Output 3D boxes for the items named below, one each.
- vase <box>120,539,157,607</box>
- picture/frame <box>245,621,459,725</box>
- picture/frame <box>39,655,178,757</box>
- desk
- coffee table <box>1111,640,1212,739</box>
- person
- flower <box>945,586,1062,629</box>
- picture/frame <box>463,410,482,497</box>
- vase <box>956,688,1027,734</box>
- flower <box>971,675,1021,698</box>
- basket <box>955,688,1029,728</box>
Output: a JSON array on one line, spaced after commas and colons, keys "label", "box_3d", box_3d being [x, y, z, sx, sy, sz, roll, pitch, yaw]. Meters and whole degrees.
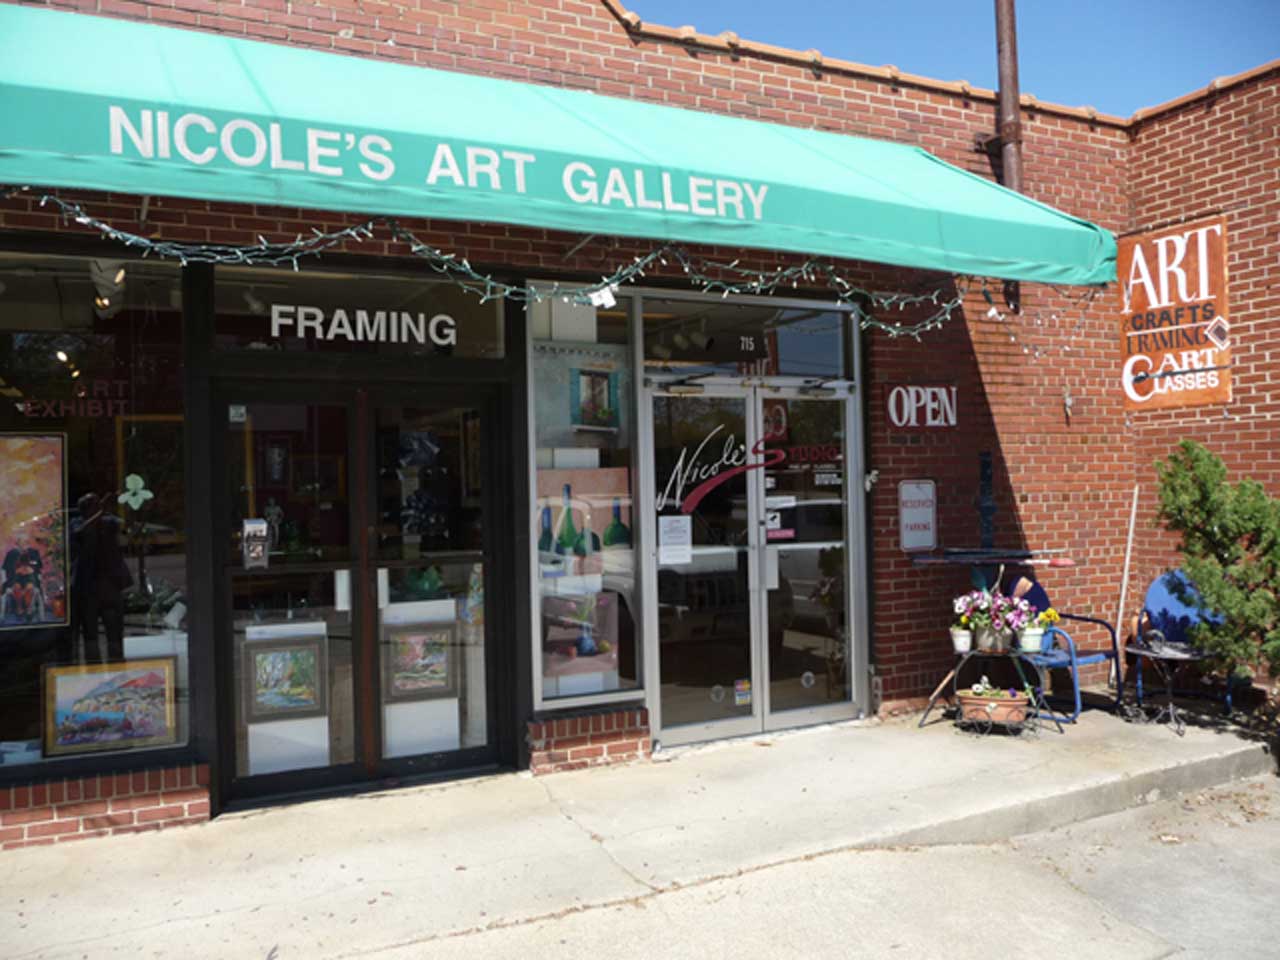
[{"label": "vase", "box_3d": [-3.347, 0.631, 7.649, 0.205, 0.303, 0.218, -4, -1, 25]}, {"label": "picture/frame", "box_3d": [-2.074, 1.338, 8.211, 1.528, 0.736, 0.163, -4, 14, -21]}, {"label": "picture/frame", "box_3d": [-3.579, 1.506, 7.555, 0.712, 0.523, 0.033, 0, -6, -20]}, {"label": "desk", "box_3d": [2.966, 1.792, 9.543, 1.103, 0.586, 0.668, 0, -5, 13]}, {"label": "coffee table", "box_3d": [4.596, 1.816, 10.010, 0.722, 0.723, 0.766, 0, -2, 0]}, {"label": "person", "box_3d": [-3.632, 0.599, 7.561, 0.405, 1.208, 0.292, -4, 14, -21]}, {"label": "flower", "box_3d": [2.953, 1.094, 9.432, 0.495, 0.219, 0.478, 3, -2, -41]}, {"label": "picture/frame", "box_3d": [-1.250, -0.173, 8.491, 0.128, 0.650, 0.142, -1, 14, -6]}, {"label": "vase", "box_3d": [2.857, 1.872, 9.282, 0.445, 0.188, 0.354, 1, 0, 38]}, {"label": "flower", "box_3d": [2.889, 1.733, 9.434, 0.251, 0.084, 0.252, 1, 0, -11]}, {"label": "basket", "box_3d": [2.859, 1.852, 9.267, 0.435, 0.173, 0.328, 0, -1, 32]}]
